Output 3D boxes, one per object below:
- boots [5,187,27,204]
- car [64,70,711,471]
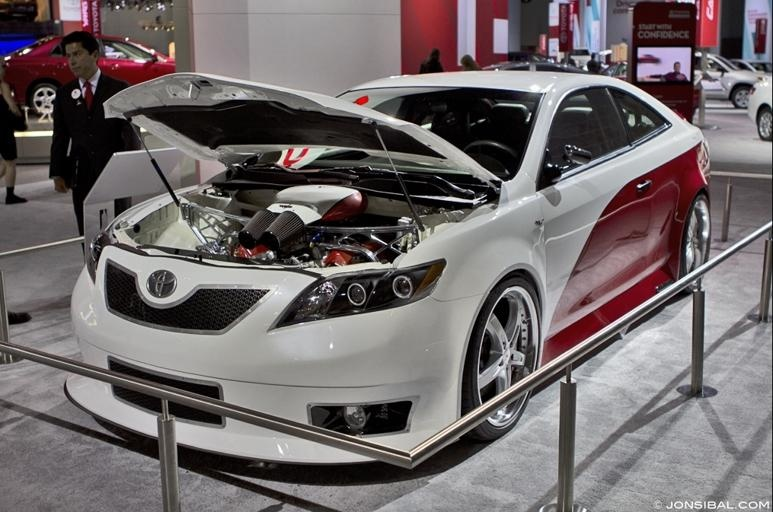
[{"bbox_3d":[-6.699,-1.093,9.337,0.317,0.282,0.376,-10,18,-32],"label":"boots"},{"bbox_3d":[0.430,-0.142,3.546,2.135,1.479,3.951,11,18,39],"label":"car"}]
